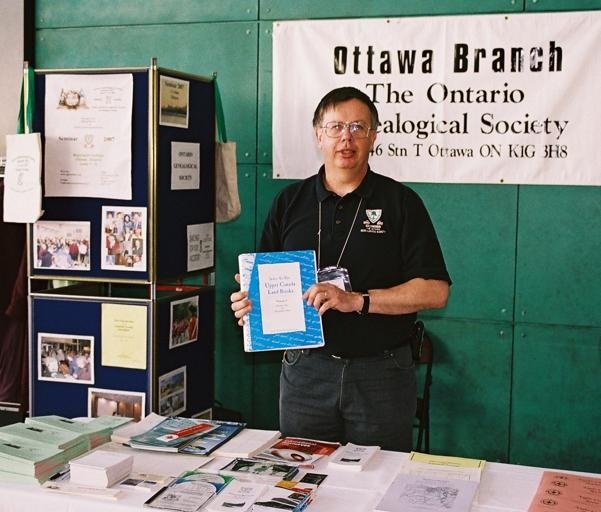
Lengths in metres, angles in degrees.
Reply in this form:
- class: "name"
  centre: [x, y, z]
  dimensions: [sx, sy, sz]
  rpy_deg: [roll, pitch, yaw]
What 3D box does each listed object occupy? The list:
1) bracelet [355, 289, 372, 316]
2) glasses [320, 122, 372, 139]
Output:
- class: "bracelet"
  centre: [0.243, 0.185, 2.349]
  dimensions: [0.047, 0.075, 0.070]
  rpy_deg: [2, 1, 5]
- class: "glasses"
  centre: [0.180, -0.487, 2.385]
  dimensions: [0.181, 0.064, 0.050]
  rpy_deg: [2, 6, 4]
